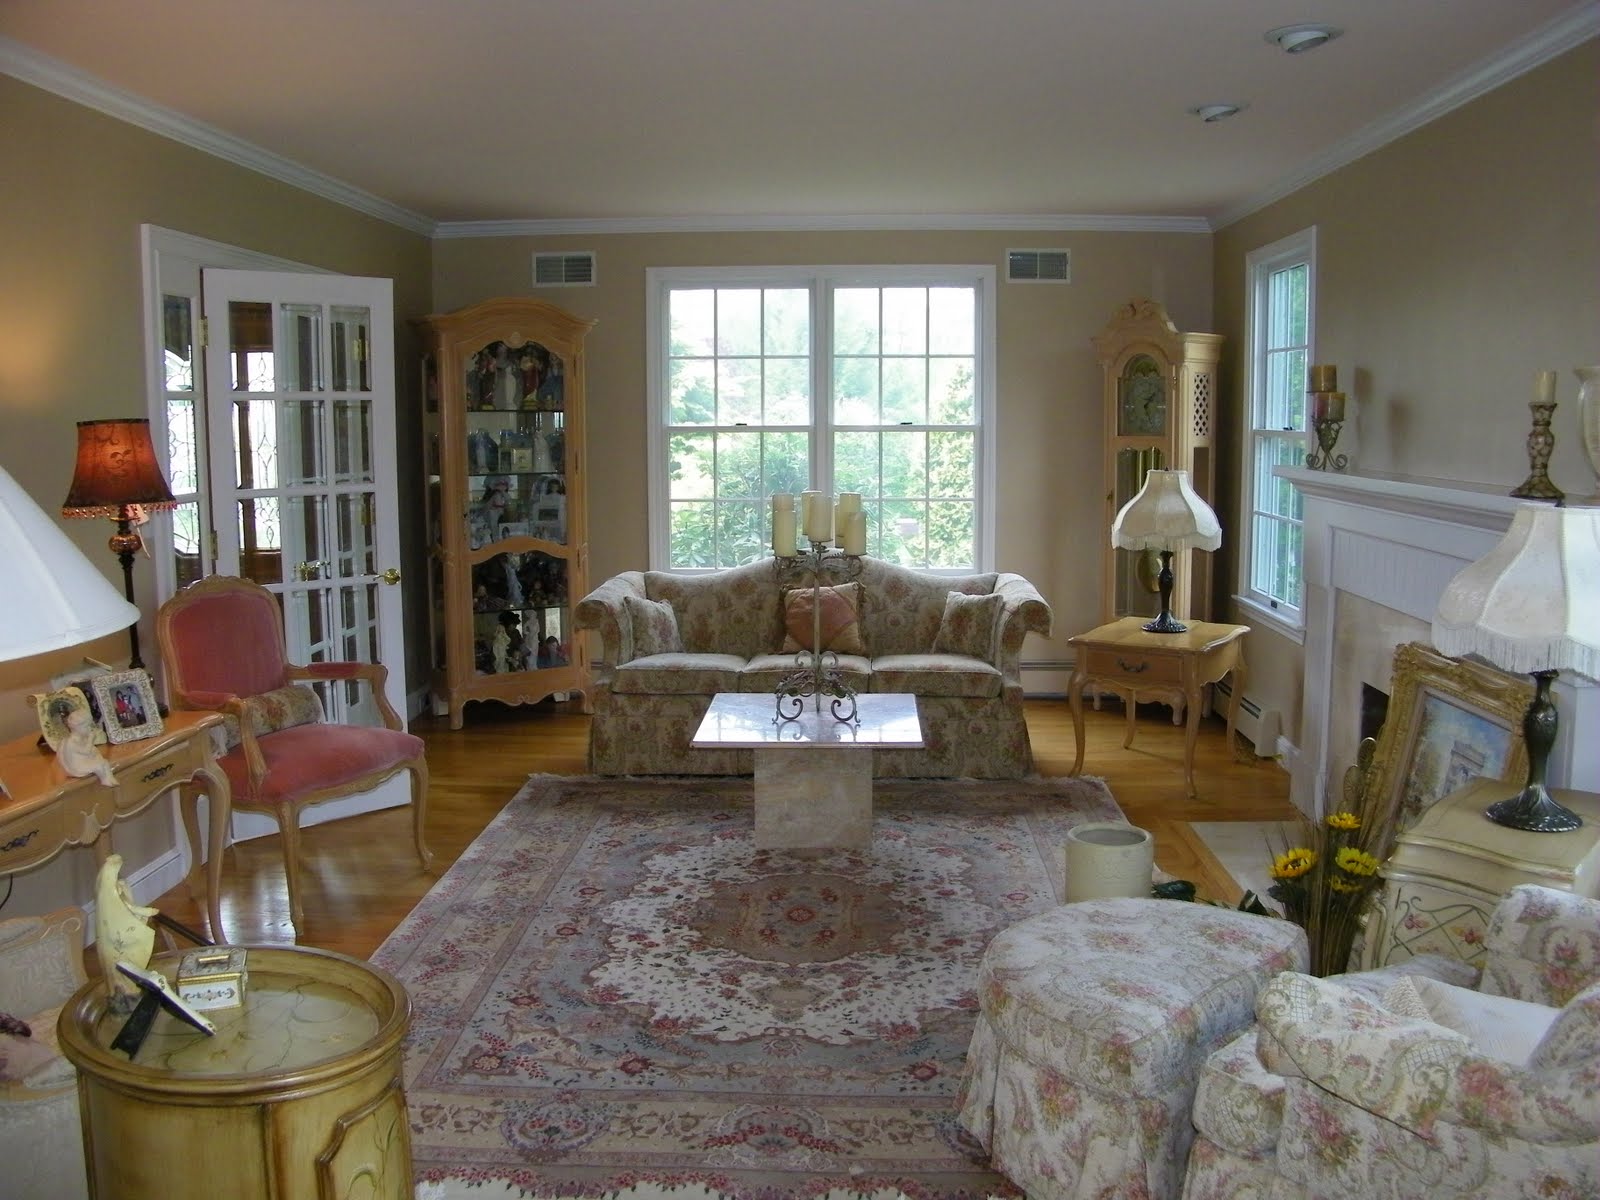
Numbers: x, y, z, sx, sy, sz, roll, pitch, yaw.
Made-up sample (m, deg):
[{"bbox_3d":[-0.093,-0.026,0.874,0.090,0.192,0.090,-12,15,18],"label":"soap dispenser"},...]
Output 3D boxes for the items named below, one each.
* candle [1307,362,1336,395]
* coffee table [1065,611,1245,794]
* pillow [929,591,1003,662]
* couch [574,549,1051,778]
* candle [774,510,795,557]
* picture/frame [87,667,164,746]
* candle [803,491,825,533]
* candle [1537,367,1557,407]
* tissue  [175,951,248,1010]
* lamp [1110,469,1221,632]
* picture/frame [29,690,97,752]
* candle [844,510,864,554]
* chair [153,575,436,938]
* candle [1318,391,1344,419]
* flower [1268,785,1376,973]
[{"bbox_3d":[2.379,-0.994,5.183,0.138,0.156,0.138,1,5,2],"label":"candle"},{"bbox_3d":[1.869,0.408,5.943,0.963,0.895,0.895,2,3,26],"label":"coffee table"},{"bbox_3d":[0.920,0.150,6.179,0.366,0.347,0.112,11,-4,41],"label":"pillow"},{"bbox_3d":[0.077,0.395,6.234,2.435,1.123,0.968,0,4,2],"label":"couch"},{"bbox_3d":[-0.060,-0.270,4.579,0.077,0.204,0.091,-2,11,-7],"label":"candle"},{"bbox_3d":[-2.251,0.364,3.789,0.028,0.263,0.230,-27,-8,26],"label":"picture/frame"},{"bbox_3d":[0.067,-0.341,4.645,0.096,0.175,0.172,-1,11,0],"label":"candle"},{"bbox_3d":[2.354,-0.659,3.600,0.051,0.097,0.094,6,13,30],"label":"candle"},{"bbox_3d":[-1.051,0.661,2.037,0.100,0.069,0.100,2,17,-11],"label":"tissue "},{"bbox_3d":[1.935,-0.276,5.969,0.483,0.800,0.870,4,12,22],"label":"lamp"},{"bbox_3d":[-2.267,0.355,3.502,0.087,0.217,0.167,-3,4,31],"label":"picture/frame"},{"bbox_3d":[0.225,-0.273,4.757,0.074,0.172,0.123,-2,11,-7],"label":"candle"},{"bbox_3d":[-2.026,0.555,4.607,0.958,1.184,0.898,2,13,-3],"label":"chair"},{"bbox_3d":[2.395,-0.870,5.132,0.104,0.100,0.106,5,5,33],"label":"candle"},{"bbox_3d":[1.472,0.783,3.144,0.312,0.495,0.296,4,-5,19],"label":"flower"}]
